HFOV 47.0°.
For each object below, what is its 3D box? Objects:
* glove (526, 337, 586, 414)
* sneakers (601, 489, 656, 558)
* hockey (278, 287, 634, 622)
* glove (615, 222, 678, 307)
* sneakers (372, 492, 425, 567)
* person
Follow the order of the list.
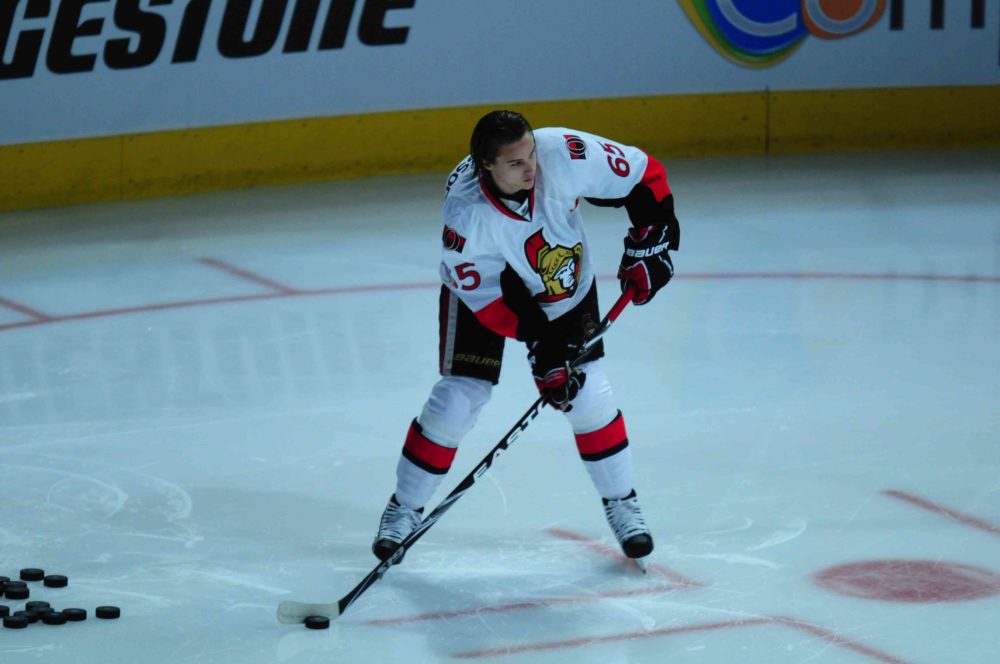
[{"bbox_3d":[0.191,0.134,3.794,0.089,0.215,0.223,-6,29,-30],"label":"glove"},{"bbox_3d":[0.425,0.639,3.842,0.264,0.089,0.104,-111,175,-47],"label":"sneakers"},{"bbox_3d":[-0.143,0.471,4.092,0.158,1.361,0.147,34,12,-43],"label":"hockey"},{"bbox_3d":[0.486,-0.246,3.954,0.178,0.281,0.107,9,14,-44],"label":"glove"},{"bbox_3d":[-0.311,0.635,3.888,0.100,0.288,0.125,34,-35,-11],"label":"sneakers"},{"bbox_3d":[0.046,-0.033,4.021,1.148,1.652,0.727,-6,27,-4],"label":"person"}]
